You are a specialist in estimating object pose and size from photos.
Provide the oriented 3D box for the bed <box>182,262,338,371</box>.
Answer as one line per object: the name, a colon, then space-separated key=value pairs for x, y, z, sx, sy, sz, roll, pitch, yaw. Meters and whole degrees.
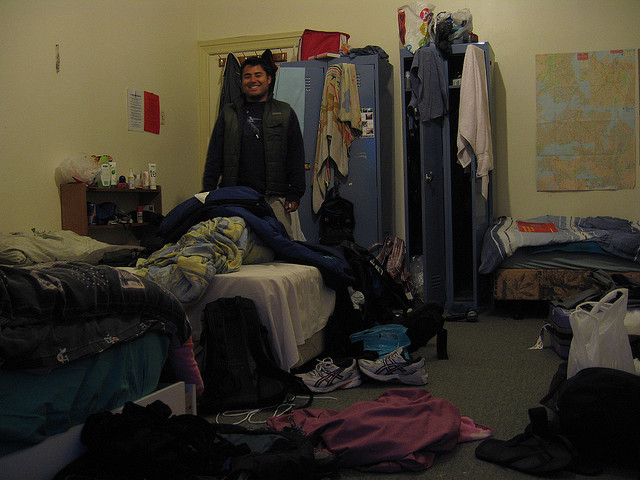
bed: x=-0.429 y=0.513 z=3.057 sx=0.918 sy=0.535 sz=1.157 roll=-4 pitch=-4 yaw=20

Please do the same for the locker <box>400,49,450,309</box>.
locker: x=1.150 y=-0.572 z=4.812 sx=0.588 sy=2.570 sz=0.733 roll=-2 pitch=5 yaw=12

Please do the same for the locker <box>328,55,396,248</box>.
locker: x=0.500 y=-1.016 z=5.127 sx=0.631 sy=2.153 sz=0.608 roll=-9 pitch=-14 yaw=42

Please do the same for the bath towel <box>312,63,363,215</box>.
bath towel: x=0.207 y=-1.066 z=4.788 sx=0.493 sy=1.480 sz=0.329 roll=0 pitch=-4 yaw=15

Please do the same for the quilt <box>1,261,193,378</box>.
quilt: x=-0.820 y=0.213 z=1.721 sx=0.503 sy=0.317 sz=0.522 roll=2 pitch=6 yaw=-42

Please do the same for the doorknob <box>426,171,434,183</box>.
doorknob: x=1.053 y=-0.602 z=4.540 sx=0.025 sy=0.094 sz=0.133 roll=5 pitch=9 yaw=39

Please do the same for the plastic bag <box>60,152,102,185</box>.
plastic bag: x=-1.968 y=-0.583 z=3.986 sx=0.291 sy=0.225 sz=0.254 roll=21 pitch=4 yaw=18

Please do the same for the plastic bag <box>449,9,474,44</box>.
plastic bag: x=1.386 y=-2.043 z=4.559 sx=0.336 sy=0.332 sz=0.145 roll=-8 pitch=10 yaw=-43

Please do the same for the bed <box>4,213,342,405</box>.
bed: x=-0.935 y=0.287 z=2.715 sx=1.677 sy=0.653 sz=1.200 roll=3 pitch=8 yaw=11

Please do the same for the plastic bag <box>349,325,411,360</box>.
plastic bag: x=0.395 y=0.628 z=3.162 sx=0.387 sy=0.172 sz=0.365 roll=4 pitch=5 yaw=6

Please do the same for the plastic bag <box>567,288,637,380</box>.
plastic bag: x=1.313 y=0.447 z=2.173 sx=0.327 sy=0.406 sz=0.215 roll=-3 pitch=7 yaw=-16

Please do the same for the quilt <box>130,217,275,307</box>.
quilt: x=-0.674 y=0.036 z=2.692 sx=0.473 sy=0.213 sz=0.627 roll=-7 pitch=12 yaw=25

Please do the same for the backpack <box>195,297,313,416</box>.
backpack: x=-0.385 y=0.597 z=2.447 sx=0.452 sy=0.558 sz=0.585 roll=-22 pitch=-10 yaw=29

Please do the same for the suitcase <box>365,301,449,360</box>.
suitcase: x=0.641 y=0.580 z=3.488 sx=0.539 sy=0.345 sz=0.612 roll=5 pitch=5 yaw=12

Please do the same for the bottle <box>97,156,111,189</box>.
bottle: x=-1.837 y=-0.546 z=4.038 sx=0.087 sy=0.214 sz=0.151 roll=2 pitch=8 yaw=20
